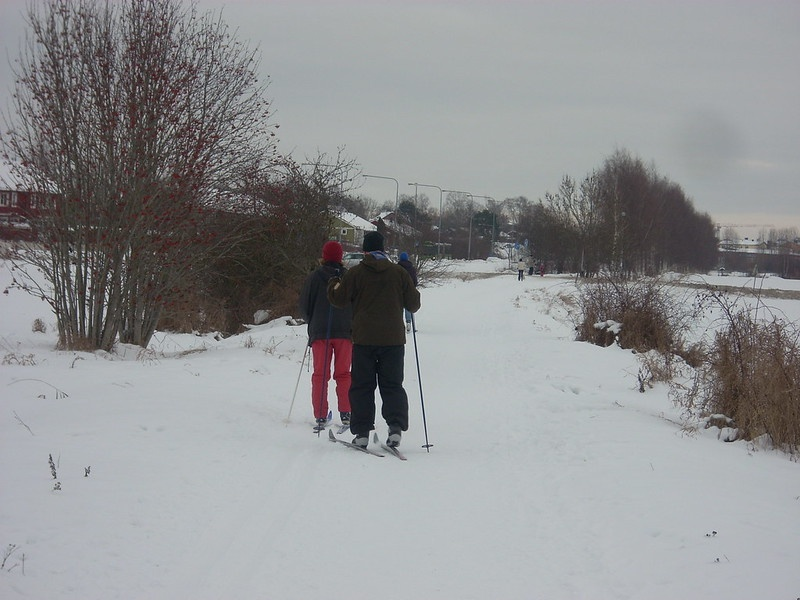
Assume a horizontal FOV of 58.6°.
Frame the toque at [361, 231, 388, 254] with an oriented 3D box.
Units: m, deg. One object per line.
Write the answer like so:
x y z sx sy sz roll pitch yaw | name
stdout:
-0.345 -0.735 8.872 0.231 0.279 0.237 3 11 9 | toque

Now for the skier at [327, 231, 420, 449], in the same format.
-0.302 0.518 8.993 0.973 2.713 0.883 2 -12 -8 | skier

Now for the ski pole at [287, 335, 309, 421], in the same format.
-1.680 1.295 11.650 0.022 1.197 0.083 11 -11 22 | ski pole

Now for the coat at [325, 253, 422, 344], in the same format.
-0.278 0.021 9.075 1.196 1.491 0.947 -2 -1 9 | coat

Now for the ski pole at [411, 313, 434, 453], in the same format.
0.312 1.004 9.700 0.227 2.048 0.256 1 -16 -14 | ski pole

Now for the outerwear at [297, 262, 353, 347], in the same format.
-1.010 0.137 9.615 0.873 1.364 0.806 -1 -6 0 | outerwear

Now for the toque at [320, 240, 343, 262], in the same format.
-0.917 -0.716 9.642 0.194 0.308 0.285 2 -43 2 | toque
